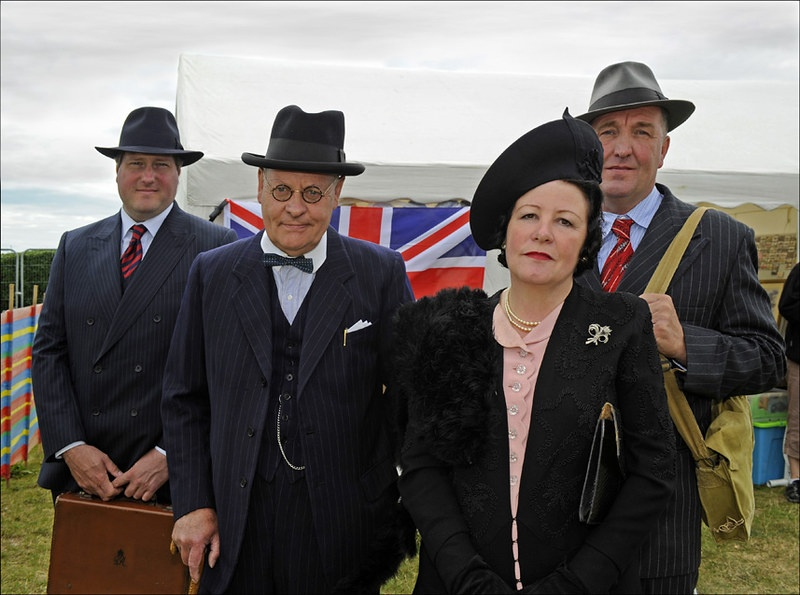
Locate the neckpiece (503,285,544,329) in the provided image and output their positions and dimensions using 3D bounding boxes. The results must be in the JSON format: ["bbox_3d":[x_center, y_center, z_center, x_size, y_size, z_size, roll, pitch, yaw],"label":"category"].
[{"bbox_3d":[0.497,0.051,3.284,0.141,0.170,0.044,3,-2,29],"label":"neckpiece"}]

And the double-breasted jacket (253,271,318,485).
[{"bbox_3d":[-0.552,0.385,3.670,0.203,0.909,0.292,2,6,-9],"label":"double-breasted jacket"}]

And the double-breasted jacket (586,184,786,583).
[{"bbox_3d":[1.253,0.548,3.723,0.748,1.936,0.972,5,22,3],"label":"double-breasted jacket"}]

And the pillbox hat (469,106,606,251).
[{"bbox_3d":[0.536,-0.541,3.342,0.471,0.660,0.269,21,19,-33],"label":"pillbox hat"}]
